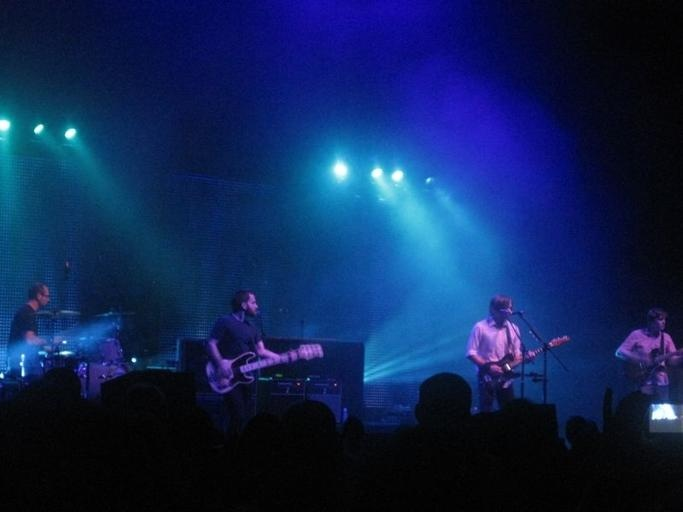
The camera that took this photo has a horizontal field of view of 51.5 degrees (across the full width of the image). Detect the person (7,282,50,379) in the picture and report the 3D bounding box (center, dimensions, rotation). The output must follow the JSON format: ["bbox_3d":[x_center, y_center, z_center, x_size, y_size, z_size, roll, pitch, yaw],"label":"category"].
[{"bbox_3d":[-4.341,1.007,9.803,0.468,1.346,0.903,4,-9,-25],"label":"person"}]

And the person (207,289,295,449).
[{"bbox_3d":[-1.161,1.368,8.645,0.323,0.769,1.860,-14,13,42],"label":"person"}]

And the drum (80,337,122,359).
[{"bbox_3d":[-3.337,1.283,9.817,0.411,0.295,0.311,0,-28,0],"label":"drum"}]

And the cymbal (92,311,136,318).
[{"bbox_3d":[-3.313,0.853,10.367,0.316,0.066,0.325,-1,-1,4],"label":"cymbal"}]
